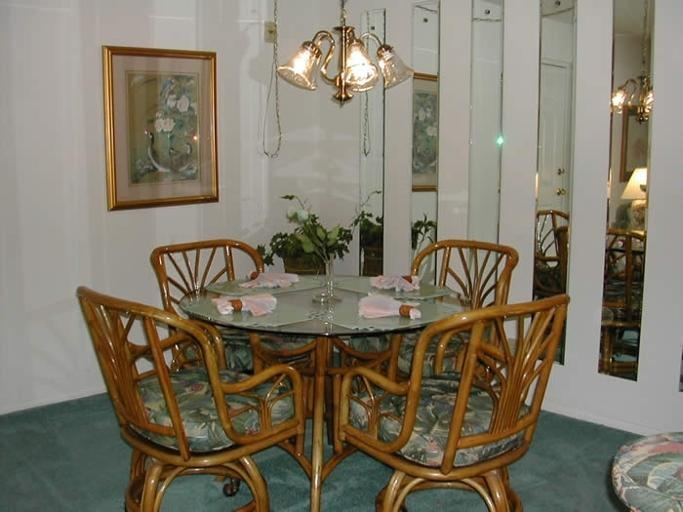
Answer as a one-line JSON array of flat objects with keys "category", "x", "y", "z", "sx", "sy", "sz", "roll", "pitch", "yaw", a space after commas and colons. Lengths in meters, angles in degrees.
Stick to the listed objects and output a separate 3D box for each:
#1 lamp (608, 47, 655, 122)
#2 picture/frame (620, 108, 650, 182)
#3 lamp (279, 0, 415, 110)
[{"category": "lamp", "x": 1.590, "y": -0.855, "z": 3.159, "sx": 0.212, "sy": 0.252, "sz": 0.218, "roll": 9, "pitch": 4, "yaw": 19}, {"category": "picture/frame", "x": 1.563, "y": -0.604, "z": 3.126, "sx": 0.026, "sy": 0.392, "sz": 0.192, "roll": -2, "pitch": 6, "yaw": -25}, {"category": "lamp", "x": 0.063, "y": -1.056, "z": 3.060, "sx": 0.580, "sy": 0.534, "sz": 1.166, "roll": 1, "pitch": 14, "yaw": 6}]
